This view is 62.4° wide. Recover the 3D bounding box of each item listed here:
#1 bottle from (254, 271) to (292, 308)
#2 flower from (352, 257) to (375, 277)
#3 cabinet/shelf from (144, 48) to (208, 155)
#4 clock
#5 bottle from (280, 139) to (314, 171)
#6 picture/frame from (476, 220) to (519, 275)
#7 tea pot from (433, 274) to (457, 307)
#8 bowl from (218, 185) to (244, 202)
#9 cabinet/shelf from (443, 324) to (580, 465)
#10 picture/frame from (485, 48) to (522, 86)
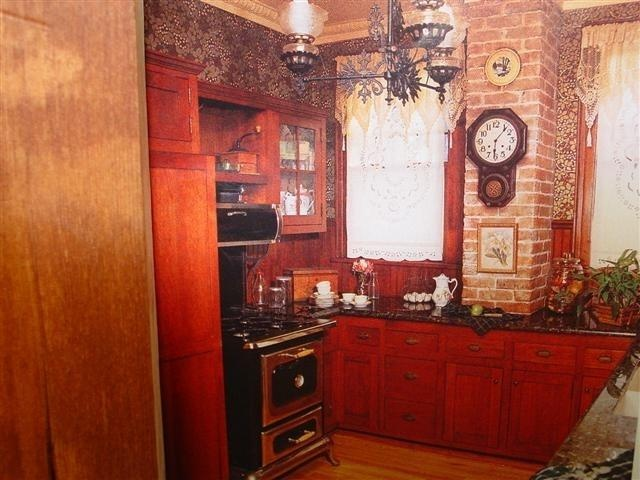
[{"bbox_3d":[-0.283,0.359,3.728,0.306,0.293,0.167,-1,5,3],"label":"bottle"},{"bbox_3d":[0.344,0.212,4.123,0.141,0.124,0.138,5,-3,-45],"label":"flower"},{"bbox_3d":[-0.650,-0.599,2.367,0.077,0.433,0.310,0,1,42],"label":"cabinet/shelf"},{"bbox_3d":[1.148,-0.533,3.442,0.373,0.623,0.067,0,1,40],"label":"clock"},{"bbox_3d":[-0.159,-0.621,3.844,0.019,0.220,0.369,0,1,39],"label":"bottle"},{"bbox_3d":[1.169,0.048,3.452,0.371,0.492,0.038,1,2,31],"label":"picture/frame"},{"bbox_3d":[0.925,0.361,3.771,0.238,0.277,0.185,0,0,10],"label":"tea pot"},{"bbox_3d":[-0.581,-0.290,3.389,0.132,0.047,0.103,3,-2,-32],"label":"bowl"},{"bbox_3d":[1.136,0.885,3.078,0.908,0.850,0.380,0,-1,28],"label":"cabinet/shelf"},{"bbox_3d":[1.184,-1.110,3.392,0.266,0.279,0.024,-4,3,43],"label":"picture/frame"}]
